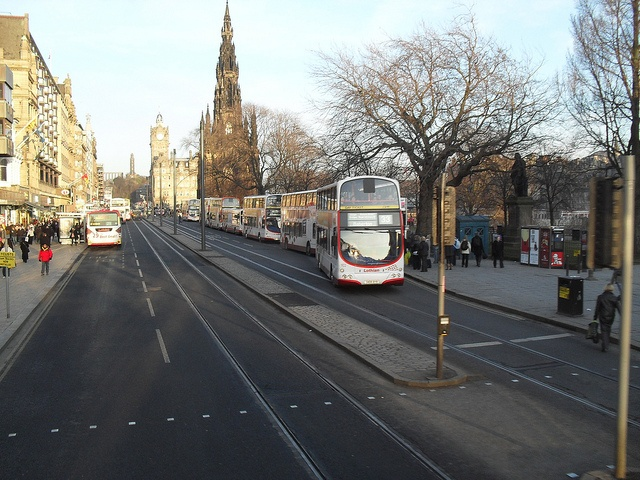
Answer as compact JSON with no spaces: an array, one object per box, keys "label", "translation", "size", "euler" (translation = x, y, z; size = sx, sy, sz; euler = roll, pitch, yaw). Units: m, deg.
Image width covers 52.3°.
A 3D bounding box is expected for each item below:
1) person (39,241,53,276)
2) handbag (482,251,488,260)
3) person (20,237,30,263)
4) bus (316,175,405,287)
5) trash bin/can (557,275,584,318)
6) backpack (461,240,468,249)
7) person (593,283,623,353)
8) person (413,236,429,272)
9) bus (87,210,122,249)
[{"label":"person","translation":[-11.874,0.789,28.103],"size":[0.459,1.350,1.544],"euler":[-4,10,-24]},{"label":"handbag","translation":[9.101,0.844,36.222],"size":[0.274,0.337,0.586],"euler":[-16,-18,27]},{"label":"person","translation":[-15.162,0.549,33.318],"size":[0.332,1.265,0.871],"euler":[-3,10,-21]},{"label":"bus","translation":[1.506,-0.324,26.732],"size":[1.811,2.954,5.778],"euler":[0,0,-10]},{"label":"trash bin/can","translation":[7.361,1.704,19.228],"size":[0.629,1.298,1.054],"euler":[0,2,-14]},{"label":"backpack","translation":[7.206,0.208,32.551],"size":[0.340,0.570,0.500],"euler":[2,9,8]},{"label":"person","translation":[7.193,1.910,16.404],"size":[0.577,1.621,1.317],"euler":[4,10,24]},{"label":"person","translation":[4.725,0.646,30.723],"size":[0.746,1.602,1.597],"euler":[2,9,9]},{"label":"bus","translation":[-14.646,-0.734,43.935],"size":[2.358,3.068,6.893],"euler":[0,0,-16]}]
